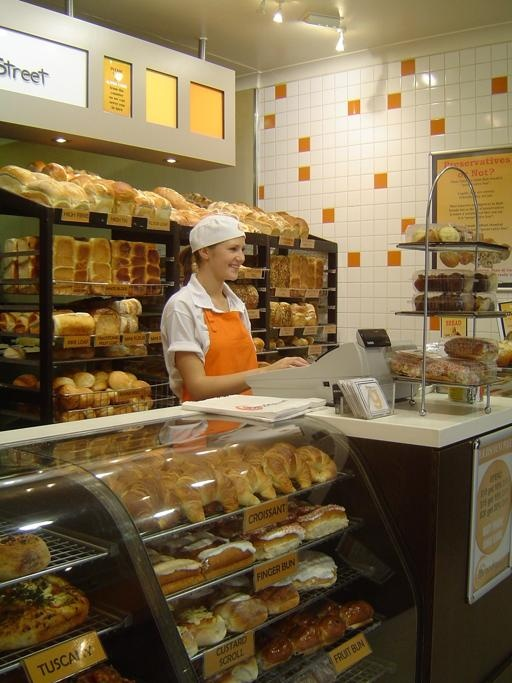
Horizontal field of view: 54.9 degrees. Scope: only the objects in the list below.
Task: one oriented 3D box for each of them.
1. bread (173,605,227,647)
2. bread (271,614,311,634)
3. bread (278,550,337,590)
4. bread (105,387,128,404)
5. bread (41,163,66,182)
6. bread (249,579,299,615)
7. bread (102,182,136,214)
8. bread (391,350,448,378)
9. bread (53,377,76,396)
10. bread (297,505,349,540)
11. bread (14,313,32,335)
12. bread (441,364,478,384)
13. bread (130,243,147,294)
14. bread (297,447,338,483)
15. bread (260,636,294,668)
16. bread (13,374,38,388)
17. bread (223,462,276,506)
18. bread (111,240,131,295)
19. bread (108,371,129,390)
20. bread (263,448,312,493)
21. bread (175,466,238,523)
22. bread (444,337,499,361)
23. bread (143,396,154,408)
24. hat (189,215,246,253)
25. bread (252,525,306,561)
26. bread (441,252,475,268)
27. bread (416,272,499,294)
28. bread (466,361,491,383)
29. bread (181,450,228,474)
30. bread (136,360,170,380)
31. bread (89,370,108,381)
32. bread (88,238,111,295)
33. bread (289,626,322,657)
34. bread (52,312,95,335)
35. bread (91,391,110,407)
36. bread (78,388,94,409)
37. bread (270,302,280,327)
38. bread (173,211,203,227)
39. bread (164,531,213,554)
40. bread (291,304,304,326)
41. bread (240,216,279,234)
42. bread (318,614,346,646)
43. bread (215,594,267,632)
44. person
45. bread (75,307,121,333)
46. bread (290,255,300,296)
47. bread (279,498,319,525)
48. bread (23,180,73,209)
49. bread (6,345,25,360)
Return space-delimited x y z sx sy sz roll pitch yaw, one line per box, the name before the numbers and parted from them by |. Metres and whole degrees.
bread | -0.086 0.457 0.797 0.029 0.058 0.080 -33 -25 19
bread | 0.069 0.562 0.978 0.067 0.019 0.033 -1 -4 -44
bread | 0.111 0.485 1.027 0.107 0.036 0.086 -4 7 -12
bread | -0.734 0.285 2.602 0.083 0.049 0.080 2 -2 -30
bread | -1.079 -0.909 2.667 0.114 0.061 0.111 20 -6 40
bread | 0.043 0.494 0.946 0.070 0.020 0.068 -7 13 -22
bread | -0.732 -0.776 2.714 0.189 0.117 0.194 5 13 21
bread | 0.428 0.055 1.311 0.094 0.033 0.075 6 7 33
bread | -0.962 0.220 2.458 0.078 0.049 0.095 8 21 -7
bread | 0.144 0.380 1.068 0.097 0.035 0.057 -7 9 -44
bread | -1.123 -0.088 2.394 0.087 0.111 0.046 -9 -8 32
bread | 0.516 0.083 1.246 0.064 0.021 0.048 17 26 14
bread | -0.659 -0.418 2.718 0.063 0.231 0.127 0 2 39
bread | 0.135 0.272 1.077 0.081 0.031 0.078 22 36 -27
bread | 0.036 0.582 0.920 0.044 0.023 0.060 -1 6 25
bread | -1.119 0.194 2.393 0.092 0.029 0.085 -2 12 -7
bread | -0.017 0.267 0.899 0.066 0.041 0.115 -9 -17 11
bread | -0.733 -0.396 2.654 0.119 0.282 0.080 -7 10 -21
bread | -0.743 0.213 2.641 0.104 0.056 0.084 25 -47 -29
bread | 0.059 0.252 1.008 0.153 0.077 0.057 7 -6 -38
bread | -0.084 0.254 0.807 0.034 0.065 0.108 -10 -9 39
bread | 0.581 0.012 1.321 0.098 0.043 0.073 2 3 27
bread | -0.598 0.337 2.753 0.061 0.061 0.063 -3 -11 8
hat | -0.162 -0.422 2.059 0.174 0.107 0.170 -15 15 11
bread | 0.046 0.379 0.961 0.047 0.032 0.093 24 22 38
bread | 0.592 -0.234 1.443 0.075 0.034 0.055 0 4 -13
bread | 0.569 -0.162 1.330 0.213 0.061 0.093 -3 9 -4
bread | 0.571 0.078 1.276 0.060 0.030 0.064 7 12 26
bread | -0.090 0.205 0.856 0.046 0.017 0.044 -3 -3 43
bread | -0.615 0.157 2.868 0.154 0.108 0.043 1 -31 -8
bread | -0.843 0.180 2.655 0.058 0.026 0.059 5 7 17
bread | -0.824 -0.394 2.585 0.059 0.292 0.166 3 11 32
bread | 0.098 0.593 0.991 0.055 0.026 0.057 -8 11 -15
bread | -0.920 -0.084 2.440 0.119 0.120 0.231 2 10 25
bread | -0.801 0.297 2.535 0.057 0.074 0.034 7 7 -40
bread | -0.855 0.288 2.471 0.041 0.075 0.084 4 -1 42
bread | 0.128 -0.197 3.497 0.111 0.131 0.142 0 -2 -4
bread | -0.428 -0.735 3.028 0.190 0.054 0.146 11 15 42
bread | -0.108 0.314 0.793 0.034 0.014 0.059 0 0 39
bread | 0.304 -0.211 3.699 0.097 0.162 0.054 2 -33 -10
bread | -0.001 -0.811 3.466 0.286 0.080 0.227 2 13 -31
bread | 0.156 0.600 1.020 0.047 0.024 0.048 0 19 15
bread | -0.027 0.473 0.865 0.081 0.027 0.058 -1 13 -37
person | -0.170 -0.135 1.916 0.407 0.757 0.612 -5 9 -11
bread | -0.829 -0.109 2.553 0.144 0.135 0.036 1 -3 -24
bread | 0.283 -0.520 3.641 0.060 0.203 0.218 -4 -1 7
bread | 0.093 0.356 1.024 0.055 0.016 0.042 -4 2 25
bread | -0.994 -0.704 2.350 0.155 0.065 0.202 -4 19 -31
bread | -1.186 0.057 2.415 0.080 0.025 0.070 10 32 -27
